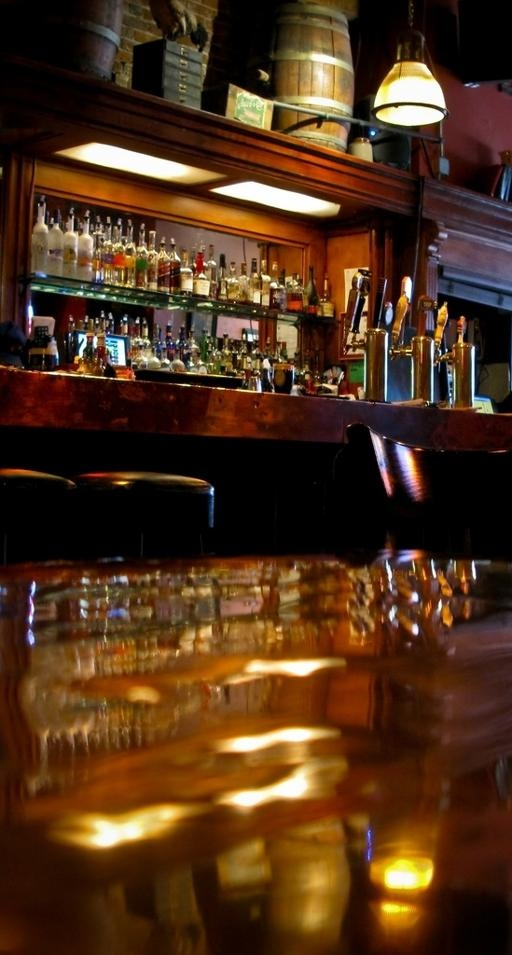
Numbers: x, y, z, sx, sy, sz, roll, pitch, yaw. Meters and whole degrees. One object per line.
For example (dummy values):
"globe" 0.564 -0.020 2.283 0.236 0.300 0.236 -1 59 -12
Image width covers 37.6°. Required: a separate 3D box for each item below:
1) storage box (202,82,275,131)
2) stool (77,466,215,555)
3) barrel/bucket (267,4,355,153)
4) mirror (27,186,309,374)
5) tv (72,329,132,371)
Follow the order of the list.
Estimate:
"storage box" -0.103 -2.199 4.448 0.416 0.196 0.191 0 5 -12
"stool" -0.308 0.095 2.022 0.253 0.153 0.264 -4 -6 40
"barrel/bucket" 0.362 -2.585 4.807 0.531 0.941 0.350 0 4 -4
"mirror" -0.585 -1.234 4.640 1.298 0.743 0.217 4 -8 -37
"tv" -0.891 -0.750 4.302 0.250 0.185 0.517 1 6 3
